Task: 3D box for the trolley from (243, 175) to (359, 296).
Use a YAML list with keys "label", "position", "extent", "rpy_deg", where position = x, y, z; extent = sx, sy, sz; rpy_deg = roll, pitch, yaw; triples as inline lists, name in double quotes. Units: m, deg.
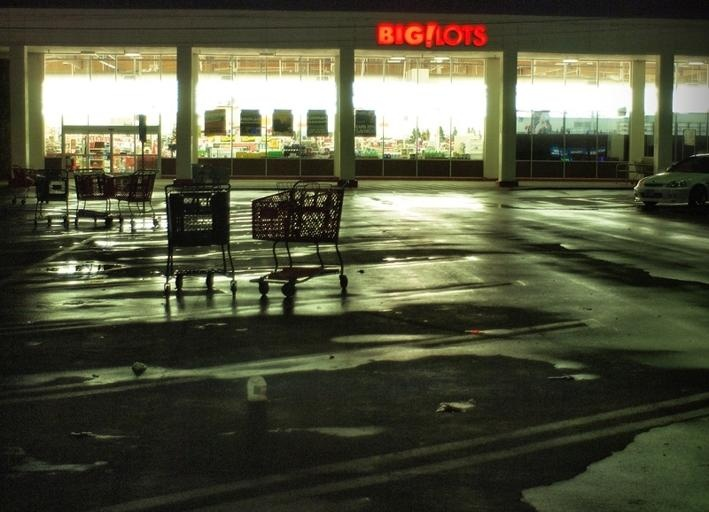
- label: "trolley"
  position: [-0.631, -0.279, 10.868]
  extent: [1.486, 1.466, 0.987]
  rpy_deg: [-1, 9, 0]
